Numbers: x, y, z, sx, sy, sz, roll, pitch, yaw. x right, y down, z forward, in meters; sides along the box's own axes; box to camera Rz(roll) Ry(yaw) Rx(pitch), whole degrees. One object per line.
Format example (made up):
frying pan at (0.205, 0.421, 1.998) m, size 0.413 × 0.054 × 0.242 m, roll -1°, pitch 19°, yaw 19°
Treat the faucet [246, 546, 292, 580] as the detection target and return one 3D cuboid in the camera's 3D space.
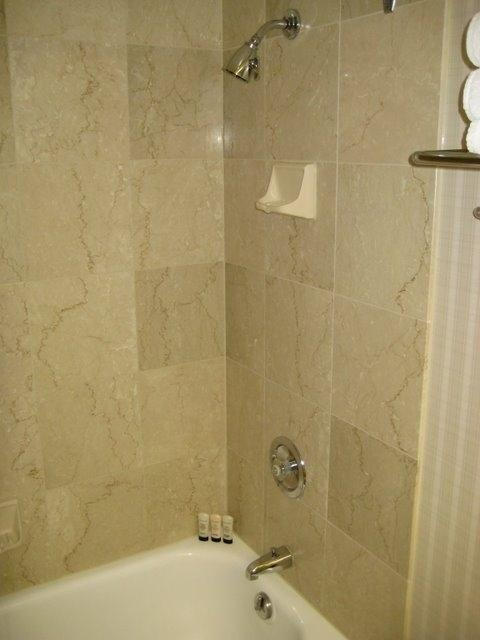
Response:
faucet at (0.084, 0.741, 1.769) m, size 0.130 × 0.078 × 0.073 m, roll -8°, pitch -84°, yaw -34°
